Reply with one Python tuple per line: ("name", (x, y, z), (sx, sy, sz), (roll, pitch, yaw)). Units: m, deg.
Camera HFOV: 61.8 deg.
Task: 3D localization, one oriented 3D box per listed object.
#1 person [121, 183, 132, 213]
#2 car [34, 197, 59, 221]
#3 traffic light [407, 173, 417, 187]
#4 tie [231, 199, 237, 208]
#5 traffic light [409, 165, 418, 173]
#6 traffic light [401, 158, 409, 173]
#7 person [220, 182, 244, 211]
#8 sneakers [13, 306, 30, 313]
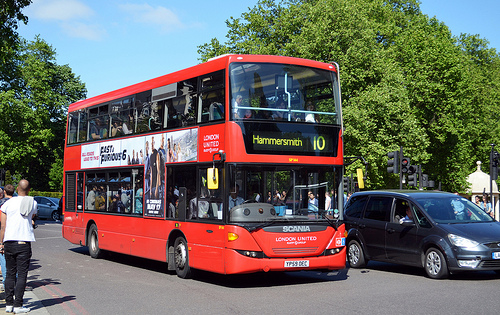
("person", (-4.595, 1.501, 15.521), (0.327, 0.926, 0.677), (-5, -16, -21))
("car", (-19.387, 4.733, 39.518), (3.424, 1.716, 1.936), (5, -5, -14))
("traffic light", (7.920, 1.086, 20.526), (0.410, 0.675, 0.446), (11, 11, 21))
("tie", (-0.451, 1.267, 11.499), (0.197, 0.199, 0.042), (-2, -8, 10))
("traffic light", (8.021, 0.601, 20.576), (0.752, 0.415, 0.248), (-3, 14, -44))
("traffic light", (7.587, 0.393, 20.512), (0.377, 0.688, 0.356), (9, 10, 12))
("person", (-0.456, 1.212, 11.583), (0.531, 0.918, 0.728), (-11, -7, 10))
("sneakers", (-5.124, 3.423, 9.378), (0.321, 0.146, 0.118), (0, 1, -27))
